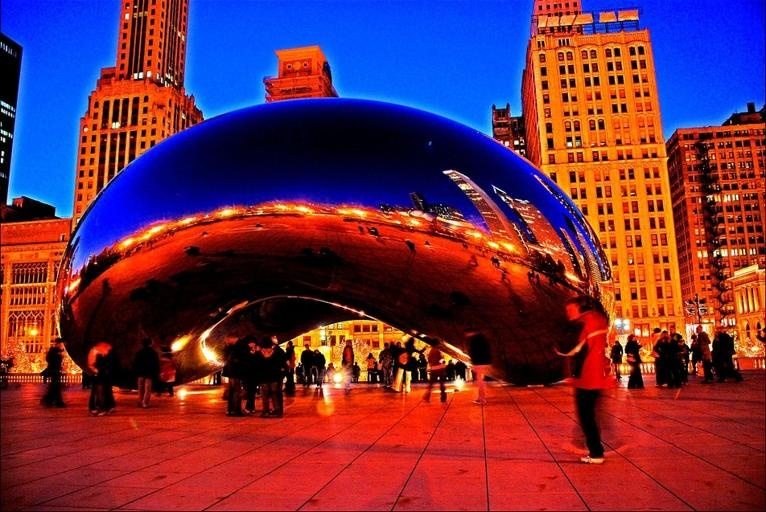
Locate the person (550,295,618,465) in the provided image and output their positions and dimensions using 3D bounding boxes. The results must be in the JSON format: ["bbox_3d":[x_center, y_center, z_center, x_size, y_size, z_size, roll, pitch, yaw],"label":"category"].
[{"bbox_3d":[3.009,1.668,8.462,0.624,2.239,1.009,-9,-12,18],"label":"person"}]
